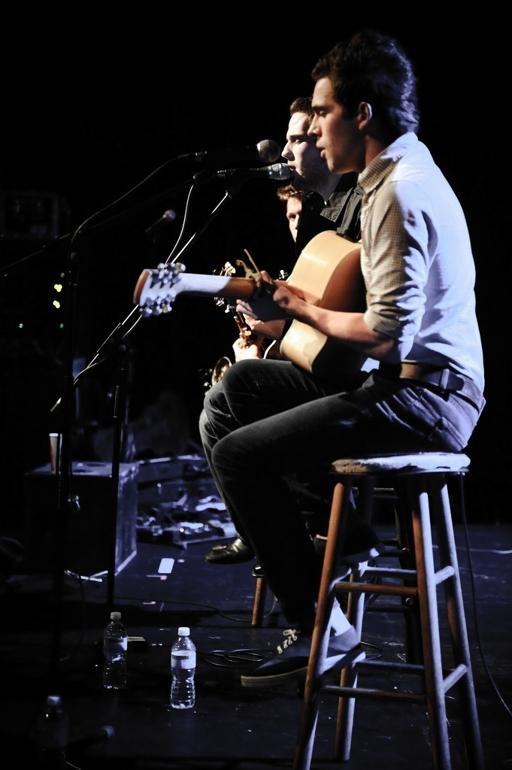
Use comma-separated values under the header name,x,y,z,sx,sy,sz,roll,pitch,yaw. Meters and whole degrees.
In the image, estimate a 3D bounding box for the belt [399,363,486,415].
name,x,y,z,sx,sy,sz,roll,pitch,yaw
belt,0.458,-0.003,2.021,0.150,0.041,0.124,22,-6,2

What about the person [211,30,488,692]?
name,x,y,z,sx,sy,sz,roll,pitch,yaw
person,0.244,-0.074,2.182,0.770,1.550,0.621,0,5,-3

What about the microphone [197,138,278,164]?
name,x,y,z,sx,sy,sz,roll,pitch,yaw
microphone,-0.103,-0.720,2.534,0.340,0.082,0.086,-7,12,-17

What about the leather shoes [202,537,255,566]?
name,x,y,z,sx,sy,sz,roll,pitch,yaw
leather shoes,-0.099,0.631,3.076,0.242,0.095,0.092,-7,-7,37
